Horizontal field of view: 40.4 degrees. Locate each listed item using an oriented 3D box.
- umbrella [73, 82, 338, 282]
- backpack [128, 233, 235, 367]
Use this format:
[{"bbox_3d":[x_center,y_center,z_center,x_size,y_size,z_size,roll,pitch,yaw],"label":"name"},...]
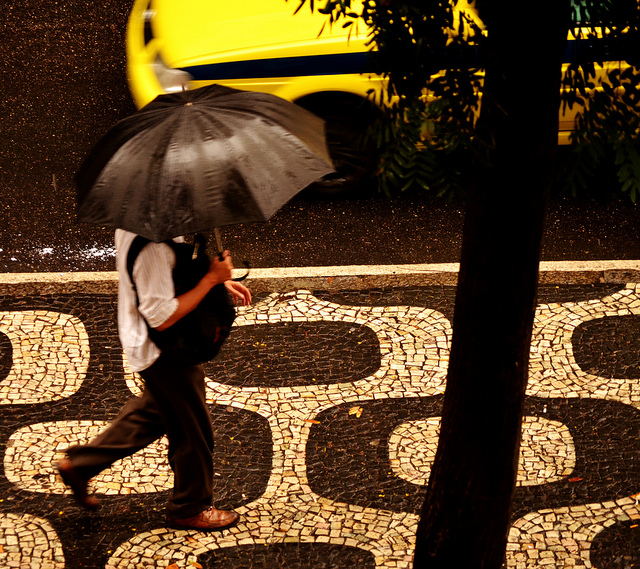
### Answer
[{"bbox_3d":[-0.557,-0.613,4.046,1.101,0.734,0.921,-6,48,11],"label":"umbrella"},{"bbox_3d":[-0.694,0.081,4.211,0.423,0.631,0.582,-16,21,-5],"label":"backpack"}]
